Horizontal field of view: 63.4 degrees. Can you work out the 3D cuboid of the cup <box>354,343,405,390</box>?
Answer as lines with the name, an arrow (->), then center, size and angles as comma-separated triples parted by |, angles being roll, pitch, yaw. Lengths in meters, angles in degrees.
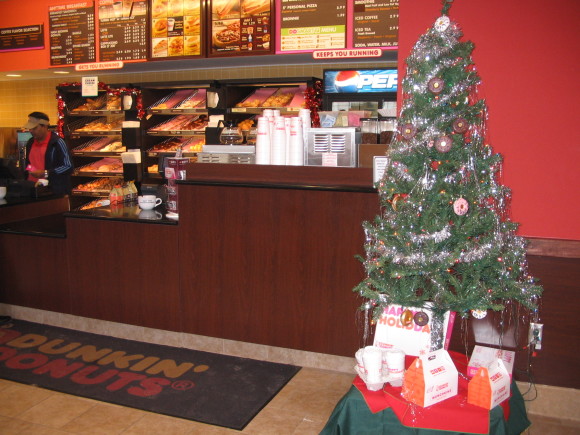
cup -> 0.473, 0.784, 2.470 | 0.217, 0.144, 0.213 | 0, 9, 0

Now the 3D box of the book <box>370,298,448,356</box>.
book -> 0.661, 0.656, 2.690 | 0.392, 0.348, 0.087 | 7, 7, 29

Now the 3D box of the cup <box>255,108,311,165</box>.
cup -> -0.065, -0.623, 3.579 | 0.429, 0.500, 0.390 | 1, 10, 0

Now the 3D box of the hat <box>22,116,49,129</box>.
hat -> -3.116, -1.168, 5.703 | 0.149, 0.095, 0.221 | 19, 28, 40

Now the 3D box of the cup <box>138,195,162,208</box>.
cup -> -1.248, -0.154, 4.109 | 0.152, 0.066, 0.119 | 3, 4, 2

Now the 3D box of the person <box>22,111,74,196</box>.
person -> -2.995, -0.809, 5.761 | 0.500, 0.962, 0.926 | -9, 17, -31

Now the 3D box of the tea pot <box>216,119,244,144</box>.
tea pot -> -0.503, -0.719, 3.966 | 0.167, 0.167, 0.456 | -3, 15, -10

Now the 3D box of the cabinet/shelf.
cabinet/shelf -> -1.129, -0.890, 5.226 | 2.087, 1.182, 0.340 | -1, 0, 6
